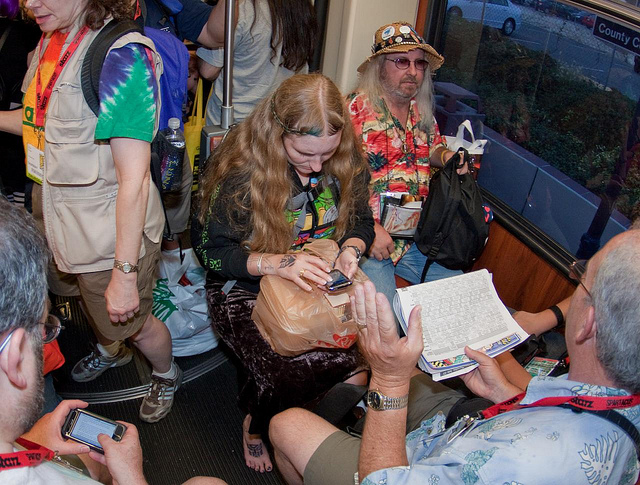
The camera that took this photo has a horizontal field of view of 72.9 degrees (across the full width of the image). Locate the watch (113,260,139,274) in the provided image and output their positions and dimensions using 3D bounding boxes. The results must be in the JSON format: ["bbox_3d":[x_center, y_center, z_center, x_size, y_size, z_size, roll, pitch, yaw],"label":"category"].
[{"bbox_3d":[-0.845,0.110,1.897,0.062,0.058,0.031,17,53,-40],"label":"watch"}]

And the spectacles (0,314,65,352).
[{"bbox_3d":[-0.819,0.256,1.278,0.091,0.037,0.096,-19,13,-8],"label":"spectacles"}]

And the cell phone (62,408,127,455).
[{"bbox_3d":[-0.757,0.649,1.475,0.182,0.046,0.112,22,47,-1],"label":"cell phone"}]

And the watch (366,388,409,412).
[{"bbox_3d":[0.209,0.523,1.412,0.112,0.076,0.111,-9,-12,40],"label":"watch"}]

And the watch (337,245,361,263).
[{"bbox_3d":[0.153,0.061,2.242,0.081,0.086,0.033,-7,36,27],"label":"watch"}]

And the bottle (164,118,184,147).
[{"bbox_3d":[-0.689,-0.517,2.040,0.062,0.130,0.068,11,36,-8],"label":"bottle"}]

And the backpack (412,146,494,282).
[{"bbox_3d":[0.818,-0.181,2.753,0.387,0.777,0.584,8,34,6],"label":"backpack"}]

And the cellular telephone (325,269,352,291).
[{"bbox_3d":[0.088,0.181,2.020,0.111,0.055,0.112,10,31,8],"label":"cellular telephone"}]

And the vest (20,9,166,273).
[{"bbox_3d":[-0.931,-0.422,1.798,0.471,0.980,0.693,-19,40,-40],"label":"vest"}]

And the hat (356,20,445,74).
[{"bbox_3d":[0.533,-1.368,2.993,0.470,0.290,0.510,-17,5,27],"label":"hat"}]

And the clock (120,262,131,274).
[{"bbox_3d":[-0.848,0.108,1.892,0.039,0.046,0.007,-8,17,-12],"label":"clock"}]
